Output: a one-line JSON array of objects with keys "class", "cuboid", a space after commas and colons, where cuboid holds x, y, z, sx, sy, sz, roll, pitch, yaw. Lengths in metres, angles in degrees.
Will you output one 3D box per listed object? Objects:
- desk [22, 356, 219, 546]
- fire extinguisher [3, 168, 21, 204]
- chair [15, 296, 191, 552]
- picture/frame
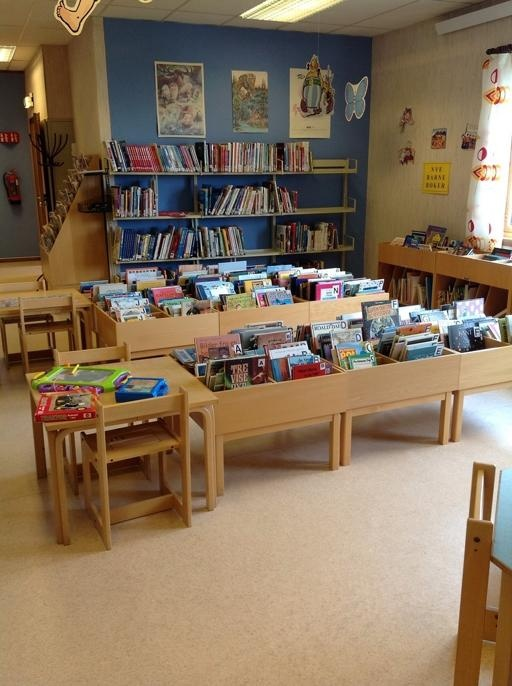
[{"class": "desk", "cuboid": [-0.678, 0.457, 2.702, 0.659, 0.657, 1.023, -7, 17, -26]}, {"class": "fire extinguisher", "cuboid": [-4.646, -2.956, 10.109, 0.301, 0.673, 0.157, -6, 12, -23]}, {"class": "chair", "cuboid": [-0.699, 0.376, 2.581, 0.870, 0.664, 0.869, -11, 19, -36]}, {"class": "picture/frame", "cuboid": [-0.871, -2.727, 5.873, 0.829, 1.085, 0.040, -5, 8, -31]}]
